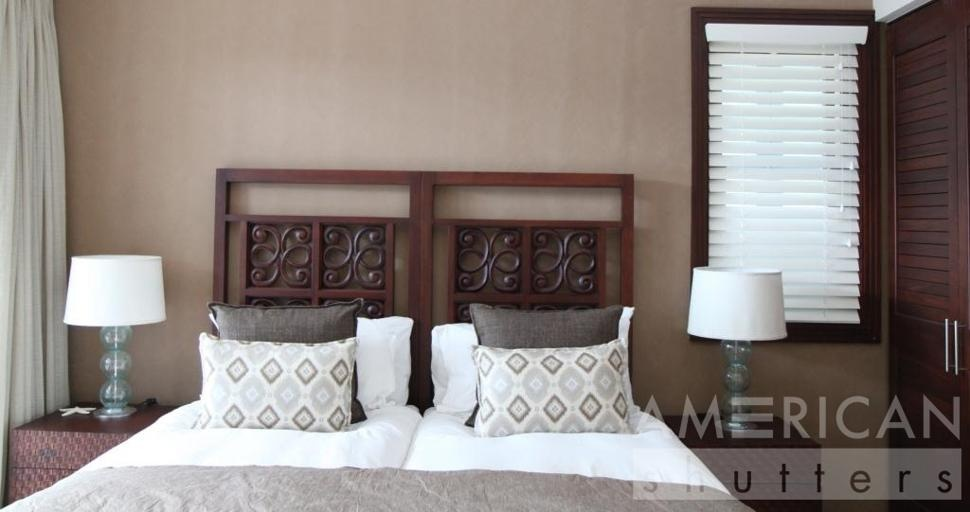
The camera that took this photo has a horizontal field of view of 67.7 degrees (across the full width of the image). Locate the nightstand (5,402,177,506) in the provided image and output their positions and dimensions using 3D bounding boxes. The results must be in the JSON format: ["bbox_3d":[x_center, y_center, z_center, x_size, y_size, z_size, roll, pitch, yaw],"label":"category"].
[{"bbox_3d":[-2.843,1.475,5.664,1.025,0.614,1.186,-1,0,2],"label":"nightstand"}]
